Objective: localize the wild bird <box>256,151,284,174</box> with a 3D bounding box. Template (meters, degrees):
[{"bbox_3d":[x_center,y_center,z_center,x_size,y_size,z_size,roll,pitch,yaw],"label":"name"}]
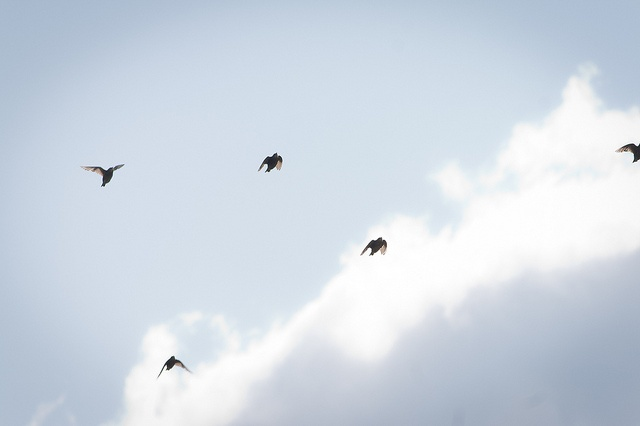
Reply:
[{"bbox_3d":[-0.294,-0.300,6.675,0.098,0.057,0.141,27,-85,6],"label":"wild bird"}]
